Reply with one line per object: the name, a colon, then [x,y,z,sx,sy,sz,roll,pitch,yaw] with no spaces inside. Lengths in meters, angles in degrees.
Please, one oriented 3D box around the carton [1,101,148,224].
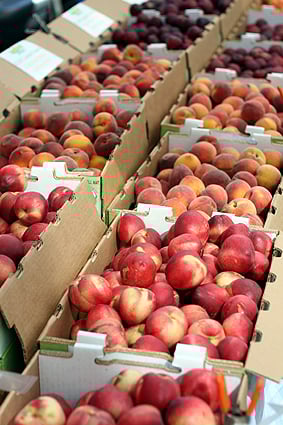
carton: [-0.643,-0.369,2.869,1.029,0.370,1.212,11,52,6]
